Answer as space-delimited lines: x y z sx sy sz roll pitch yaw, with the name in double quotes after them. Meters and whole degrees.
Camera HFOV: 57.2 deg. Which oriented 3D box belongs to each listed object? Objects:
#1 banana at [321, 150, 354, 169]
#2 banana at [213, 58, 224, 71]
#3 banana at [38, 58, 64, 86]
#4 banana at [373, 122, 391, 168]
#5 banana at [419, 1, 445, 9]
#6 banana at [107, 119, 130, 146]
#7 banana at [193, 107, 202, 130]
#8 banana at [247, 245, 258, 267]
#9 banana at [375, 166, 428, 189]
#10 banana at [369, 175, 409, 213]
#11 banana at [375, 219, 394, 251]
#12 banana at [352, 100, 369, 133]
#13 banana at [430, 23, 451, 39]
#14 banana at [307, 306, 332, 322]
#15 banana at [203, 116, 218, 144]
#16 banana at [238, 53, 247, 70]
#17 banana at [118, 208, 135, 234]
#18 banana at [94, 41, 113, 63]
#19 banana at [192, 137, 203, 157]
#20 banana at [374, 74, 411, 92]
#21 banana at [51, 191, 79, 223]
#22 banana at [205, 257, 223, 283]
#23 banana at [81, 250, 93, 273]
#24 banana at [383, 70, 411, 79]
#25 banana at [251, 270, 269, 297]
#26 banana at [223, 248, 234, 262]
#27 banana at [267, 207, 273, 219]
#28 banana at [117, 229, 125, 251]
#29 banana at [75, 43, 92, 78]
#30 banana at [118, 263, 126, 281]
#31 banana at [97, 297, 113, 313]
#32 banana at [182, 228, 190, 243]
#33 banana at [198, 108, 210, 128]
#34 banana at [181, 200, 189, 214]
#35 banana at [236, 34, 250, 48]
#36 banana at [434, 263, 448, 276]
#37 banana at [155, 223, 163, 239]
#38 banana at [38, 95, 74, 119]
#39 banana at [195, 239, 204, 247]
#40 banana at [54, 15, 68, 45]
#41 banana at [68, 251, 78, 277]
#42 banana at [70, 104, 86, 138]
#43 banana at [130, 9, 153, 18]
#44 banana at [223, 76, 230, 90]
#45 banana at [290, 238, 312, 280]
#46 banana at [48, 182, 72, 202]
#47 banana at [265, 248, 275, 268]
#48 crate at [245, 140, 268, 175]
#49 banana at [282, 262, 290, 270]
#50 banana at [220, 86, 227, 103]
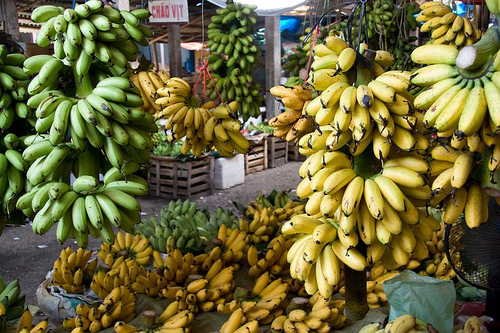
0.496 -0.034 2.611 0.097 0.077 0.272 6 -3 31 "banana"
-0.280 -0.926 4.171 0.053 0.101 0.150 7 18 39 "banana"
-1.262 -0.629 2.996 0.076 0.089 0.260 26 54 -5 "banana"
0.730 -0.124 2.568 0.066 0.261 0.089 -4 -11 -16 "banana"
1.459 -1.297 3.656 0.219 0.067 0.065 0 5 -3 "banana"
-0.841 -0.220 2.967 0.070 0.079 0.247 -14 60 -41 "banana"
-0.398 -0.366 3.535 0.044 0.169 0.058 -2 -20 -12 "banana"
0.027 0.794 4.084 0.071 0.163 0.091 2 -4 -1 "banana"
0.883 0.064 2.613 0.100 0.106 0.316 -19 20 -28 "banana"
0.780 0.130 2.614 0.085 0.097 0.291 -2 42 -35 "banana"
0.750 0.375 2.626 0.062 0.201 0.071 -23 -3 30 "banana"
0.599 -0.283 2.561 0.055 0.074 0.207 -24 36 14 "banana"
1.494 -1.070 3.593 0.153 0.052 0.046 -37 42 -8 "banana"
0.511 1.044 3.260 0.065 0.083 0.238 30 -21 -20 "banana"
-0.308 -0.285 3.553 0.132 0.266 0.069 -16 27 -35 "banana"
-0.068 -0.946 4.124 0.053 0.045 0.166 4 47 -4 "banana"
-0.801 0.366 3.038 0.049 0.193 0.062 -10 33 21 "banana"
-0.962 -0.739 2.983 0.081 0.151 0.050 -45 -17 17 "banana"
-0.434 -0.165 3.770 0.072 0.153 0.046 -13 25 -35 "banana"
0.825 -0.475 2.632 0.165 0.086 0.062 23 47 36 "banana"
-1.146 0.227 2.915 0.069 0.097 0.265 11 42 18 "banana"
-0.299 0.888 3.979 0.069 0.079 0.245 33 60 1 "banana"
-1.526 0.876 4.269 0.055 0.219 0.070 24 -25 -25 "banana"
0.863 -0.551 2.703 0.151 0.054 0.078 7 17 20 "banana"
0.096 0.963 3.809 0.068 0.091 0.265 20 55 18 "banana"
-0.190 0.800 4.134 0.046 0.146 0.096 9 45 -12 "banana"
0.214 0.476 4.810 0.043 0.093 0.030 1 -9 -6 "banana"
-1.255 0.721 4.504 0.061 0.240 0.078 -12 -8 28 "banana"
-1.072 -0.673 2.947 0.069 0.245 0.084 -12 -17 34 "banana"
-1.058 0.883 3.852 0.039 0.144 0.046 9 -14 0 "banana"
-1.081 1.044 3.450 0.185 0.069 0.050 -24 -16 8 "banana"
-0.609 0.660 4.406 0.042 0.140 0.042 2 -11 -16 "banana"
-0.358 -0.388 3.589 0.032 0.126 0.098 -7 -11 28 "banana"
-0.730 0.465 5.251 0.044 0.048 0.168 -3 51 18 "banana"
-0.052 -1.133 4.125 0.046 0.061 0.168 -24 62 -37 "banana"
1.565 0.846 3.753 0.064 0.123 0.040 39 11 1 "banana"
-0.917 0.654 4.661 0.046 0.060 0.173 -24 33 -3 "banana"
-1.199 -0.385 2.913 0.057 0.091 0.271 27 32 17 "banana"
-0.482 0.745 4.427 0.095 0.063 0.024 -13 16 -30 "banana"
-1.208 -0.877 2.939 0.080 0.169 0.042 -14 7 -32 "banana"
-1.583 0.870 4.093 0.051 0.205 0.065 2 -10 -19 "banana"
-1.071 -0.280 2.888 0.073 0.233 0.063 -12 -18 -27 "banana"
-0.783 -1.138 3.365 0.196 0.057 0.074 -4 -1 -2 "banana"
-0.205 -0.741 4.102 0.041 0.110 0.072 9 19 44 "banana"
0.286 0.572 2.818 0.103 0.315 0.061 27 -17 -34 "banana"
-1.188 0.156 2.844 0.053 0.069 0.196 -42 16 -6 "banana"
0.183 0.823 4.094 0.109 0.165 0.044 -17 18 -40 "banana"
0.168 -0.189 10.382 0.836 0.645 0.462 -2 8 -23 "crate"
0.330 0.920 4.192 0.017 0.060 0.032 6 37 -48 "banana"
-0.232 -0.641 4.110 0.037 0.149 0.050 7 9 5 "banana"
